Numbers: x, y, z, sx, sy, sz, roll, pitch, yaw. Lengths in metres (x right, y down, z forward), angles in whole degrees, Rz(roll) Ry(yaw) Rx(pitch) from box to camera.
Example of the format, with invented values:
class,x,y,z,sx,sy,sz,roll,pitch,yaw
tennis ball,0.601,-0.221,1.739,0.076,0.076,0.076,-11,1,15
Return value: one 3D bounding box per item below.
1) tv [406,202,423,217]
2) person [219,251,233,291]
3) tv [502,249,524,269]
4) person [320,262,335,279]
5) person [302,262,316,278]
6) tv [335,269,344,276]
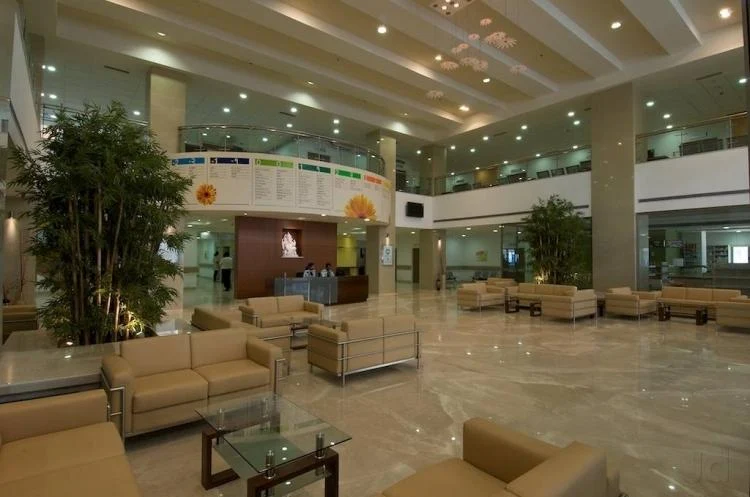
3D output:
class,x,y,z,sx,sy,sz,roll,pitch,yaw
tv,1.902,-1.823,22.252,0.296,0.683,1.134,-2,-1,40
person,-6.269,1.030,20.426,0.430,1.415,1.026,-2,-1,-17
tv,5.768,0.328,19.738,0.614,0.783,1.118,1,-1,-32
person,-1.765,0.778,17.731,0.478,0.914,0.327,2,-8,-42
person,-2.306,0.741,16.896,0.500,0.914,0.548,-1,3,-14
tv,-1.419,0.930,19.712,0.217,0.268,0.404,-2,-1,15
